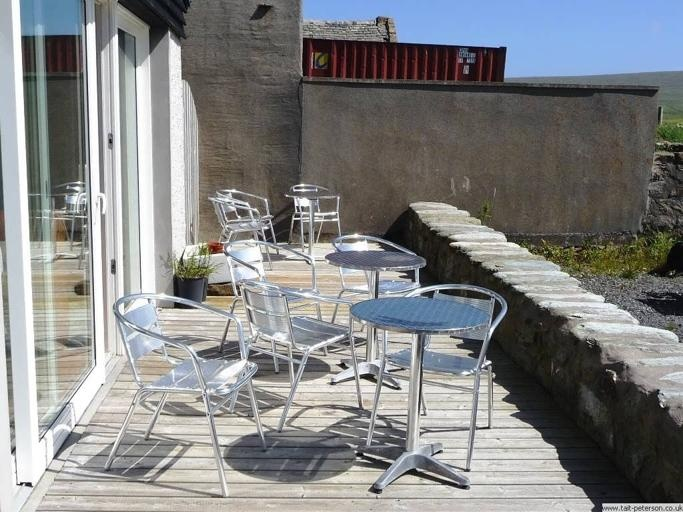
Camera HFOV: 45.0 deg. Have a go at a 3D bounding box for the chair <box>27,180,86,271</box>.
[{"bbox_3d":[-1.695,-0.222,5.052,0.384,0.591,0.435,0,4,-39],"label":"chair"}]
